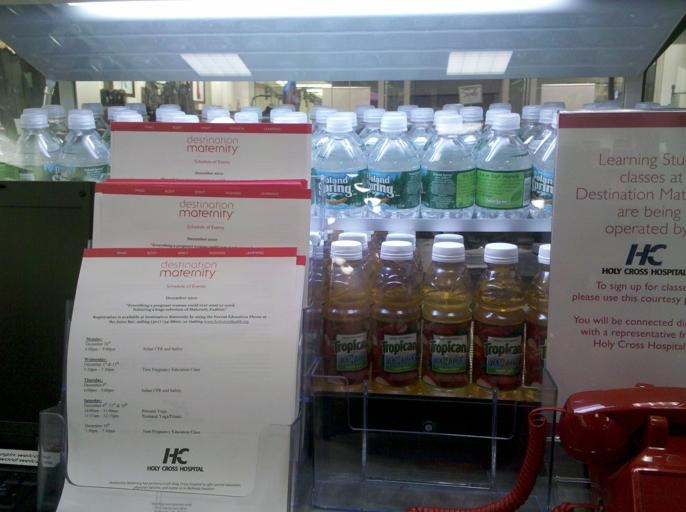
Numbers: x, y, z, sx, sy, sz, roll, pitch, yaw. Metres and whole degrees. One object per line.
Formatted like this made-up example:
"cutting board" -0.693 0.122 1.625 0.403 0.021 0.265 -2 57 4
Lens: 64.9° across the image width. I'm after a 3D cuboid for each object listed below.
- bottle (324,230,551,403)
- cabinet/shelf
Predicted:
"bottle" 0.175 0.129 1.028 0.334 0.243 0.107 1 -1 1
"cabinet/shelf" 0.206 0.113 1.294 0.651 0.470 0.338 0 3 8
